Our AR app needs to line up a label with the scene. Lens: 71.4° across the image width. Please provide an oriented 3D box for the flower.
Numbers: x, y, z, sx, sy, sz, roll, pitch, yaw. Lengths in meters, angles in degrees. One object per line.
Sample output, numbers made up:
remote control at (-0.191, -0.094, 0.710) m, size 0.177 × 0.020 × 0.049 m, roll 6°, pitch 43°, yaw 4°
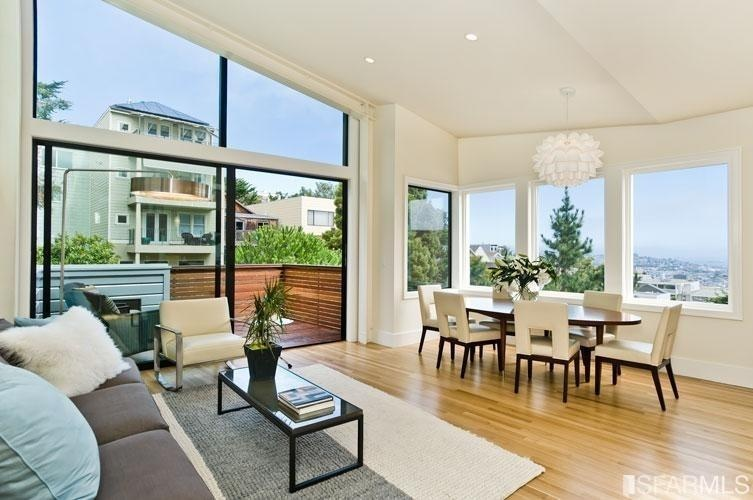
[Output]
flower at (2.090, 0.359, 7.564) m, size 0.798 × 0.543 × 0.799 m, roll -4°, pitch -8°, yaw 20°

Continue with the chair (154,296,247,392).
chair at (-2.092, 1.118, 6.659) m, size 1.333 × 1.149 × 0.996 m, roll 2°, pitch -4°, yaw -41°

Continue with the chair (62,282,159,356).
chair at (-3.509, 0.921, 6.976) m, size 1.102 × 0.996 × 0.785 m, roll 2°, pitch -3°, yaw -40°
